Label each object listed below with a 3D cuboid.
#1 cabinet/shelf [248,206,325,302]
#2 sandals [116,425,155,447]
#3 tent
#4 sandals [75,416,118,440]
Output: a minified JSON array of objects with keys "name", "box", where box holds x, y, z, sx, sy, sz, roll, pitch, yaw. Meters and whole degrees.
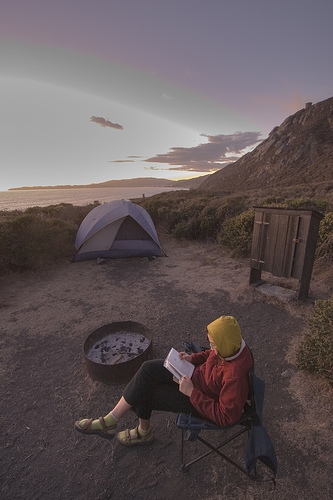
[{"name":"cabinet/shelf","box":[2.232,0.274,5.727,1.185,2.040,1.008,11,15,43]},{"name":"sandals","box":[-0.279,1.636,2.690,0.240,0.125,0.164,6,-4,-4]},{"name":"tent","box":[-1.280,-0.465,8.053,2.146,1.577,0.923,-2,13,-7]},{"name":"sandals","box":[-0.599,1.501,2.689,0.330,0.169,0.180,15,-6,7]}]
